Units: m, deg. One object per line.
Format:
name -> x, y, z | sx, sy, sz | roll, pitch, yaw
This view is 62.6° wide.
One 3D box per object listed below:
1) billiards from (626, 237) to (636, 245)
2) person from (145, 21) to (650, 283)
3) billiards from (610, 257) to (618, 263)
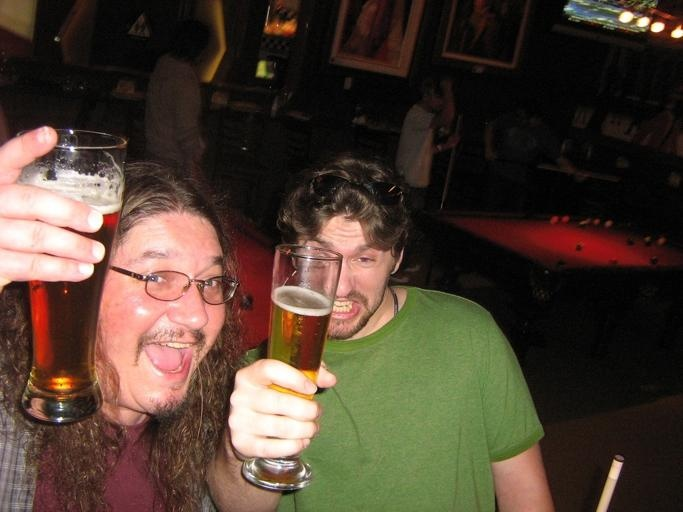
billiards -> 2.342, -0.113, 4.551 | 0.067, 0.045, 0.021 | 0, -2, -5
person -> 0.348, -0.821, 3.808 | 2.221, 1.281, 1.051 | 6, 20, -17
billiards -> 2.215, 0.031, 4.553 | 0.053, 0.043, 0.040 | 15, 4, 26
